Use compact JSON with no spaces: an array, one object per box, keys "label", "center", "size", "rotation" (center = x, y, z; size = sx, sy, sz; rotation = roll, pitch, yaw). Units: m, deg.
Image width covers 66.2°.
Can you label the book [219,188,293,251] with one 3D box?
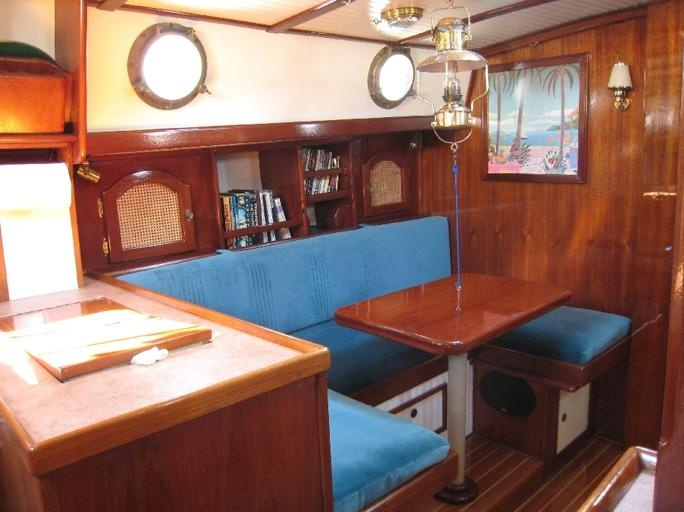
[{"label":"book","center":[-0.558,-0.229,3.310],"size":[0.407,0.363,0.222],"rotation":[-12,11,-43]}]

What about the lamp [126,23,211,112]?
[{"label":"lamp","center":[-0.899,-0.983,2.711],"size":[0.396,0.425,0.090],"rotation":[-15,17,-40]}]

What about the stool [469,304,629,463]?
[{"label":"stool","center":[1.256,0.654,3.374],"size":[0.821,0.845,1.304],"rotation":[11,18,43]}]

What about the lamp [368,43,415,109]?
[{"label":"lamp","center":[0.350,-1.250,3.665],"size":[0.151,0.404,0.379],"rotation":[9,18,44]}]

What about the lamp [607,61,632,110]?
[{"label":"lamp","center":[1.679,-1.036,3.176],"size":[0.130,0.297,0.136],"rotation":[7,18,39]}]
